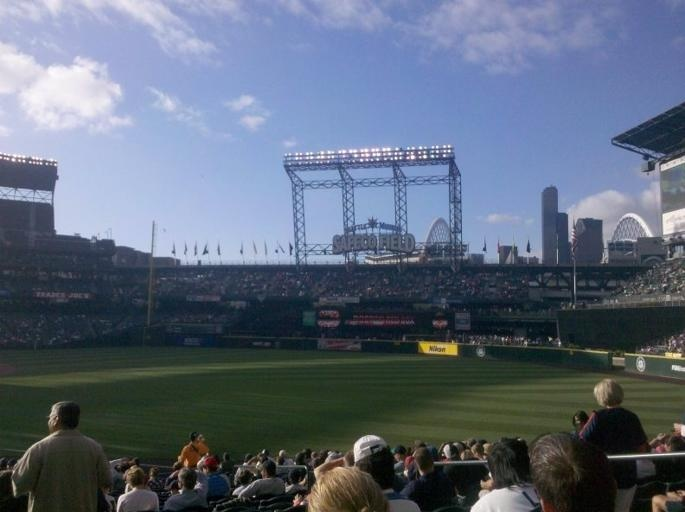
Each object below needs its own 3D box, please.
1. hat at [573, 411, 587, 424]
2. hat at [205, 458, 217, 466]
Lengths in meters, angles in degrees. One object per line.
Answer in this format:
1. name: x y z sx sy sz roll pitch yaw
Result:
1. hat: 11.322 7.677 41.071 0.655 0.618 0.970 -4 -7 22
2. hat: -6.391 9.988 41.969 0.329 0.536 0.248 -3 11 -38
